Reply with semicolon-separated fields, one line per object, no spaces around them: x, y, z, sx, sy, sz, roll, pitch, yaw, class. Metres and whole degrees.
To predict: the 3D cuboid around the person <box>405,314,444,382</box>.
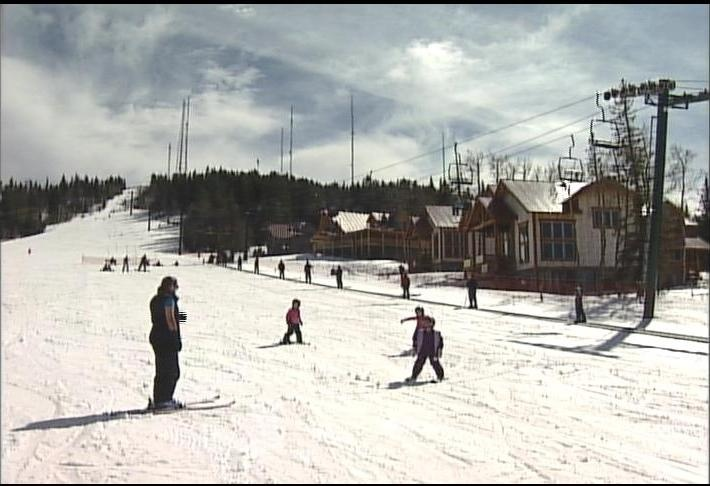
3.280;4.033;35.917;1.430;3.091;1.150;-4;30;9;person
